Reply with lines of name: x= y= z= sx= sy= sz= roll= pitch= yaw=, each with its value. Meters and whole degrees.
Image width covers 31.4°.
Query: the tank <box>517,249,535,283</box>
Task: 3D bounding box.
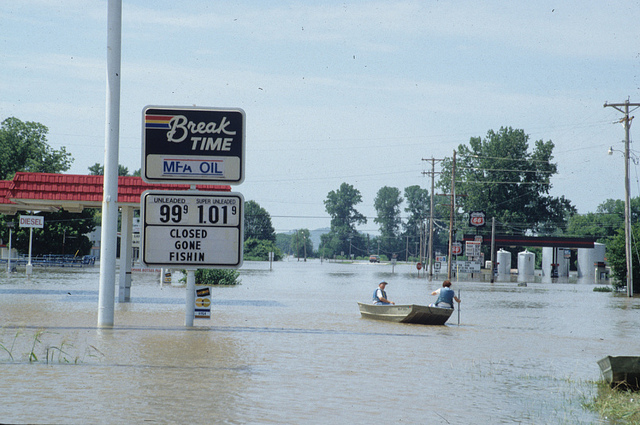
tank: x=26.526 y=6.229 z=145.517 sx=2.126 sy=3.976 sz=2.172 roll=-8 pitch=19 yaw=-15

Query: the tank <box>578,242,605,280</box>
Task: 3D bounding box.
tank: x=34.195 y=6.013 z=141.264 sx=4.263 sy=5.226 sz=4.493 roll=-4 pitch=3 yaw=10

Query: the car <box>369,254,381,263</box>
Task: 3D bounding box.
car: x=9.956 y=8.401 z=202.489 sx=1.212 sy=1.239 sz=2.325 roll=2 pitch=8 yaw=18
